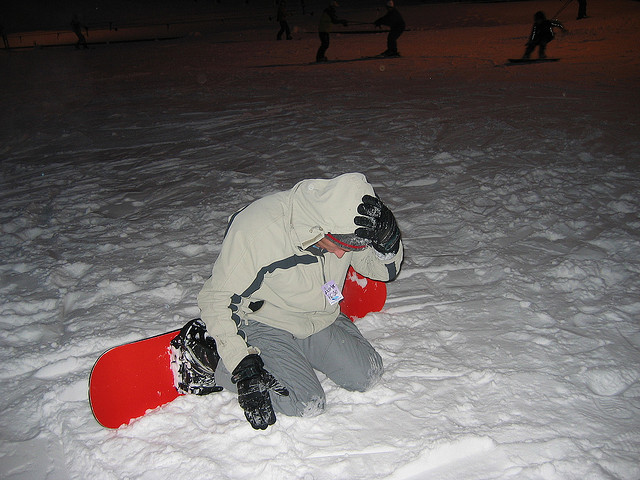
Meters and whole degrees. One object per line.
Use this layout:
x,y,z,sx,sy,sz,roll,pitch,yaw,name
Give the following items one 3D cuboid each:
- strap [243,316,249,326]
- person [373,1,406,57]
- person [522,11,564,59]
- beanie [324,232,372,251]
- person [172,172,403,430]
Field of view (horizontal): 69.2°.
-0.444,0.483,2.803,0.022,0.063,0.005,-6,13,-1,strap
1.914,-5.659,12.454,0.691,1.327,1.388,9,38,6,person
5.255,-4.777,10.988,0.609,1.071,0.977,17,40,15,person
0.156,0.003,2.571,0.163,0.052,0.127,13,5,23,beanie
-0.111,0.326,2.625,1.063,1.279,1.096,11,39,9,person
